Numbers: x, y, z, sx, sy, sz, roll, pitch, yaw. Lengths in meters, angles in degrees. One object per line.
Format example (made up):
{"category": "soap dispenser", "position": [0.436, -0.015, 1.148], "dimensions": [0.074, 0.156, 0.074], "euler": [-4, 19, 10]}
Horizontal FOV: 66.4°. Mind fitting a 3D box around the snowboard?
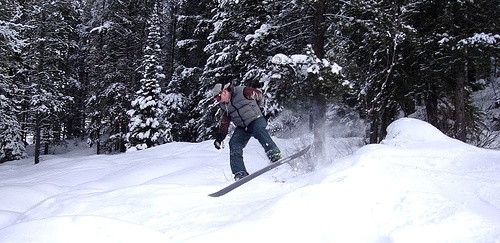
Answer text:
{"category": "snowboard", "position": [0.602, 2.846, 21.487], "dimensions": [6.265, 0.593, 0.307], "euler": [-24, 33, -22]}
